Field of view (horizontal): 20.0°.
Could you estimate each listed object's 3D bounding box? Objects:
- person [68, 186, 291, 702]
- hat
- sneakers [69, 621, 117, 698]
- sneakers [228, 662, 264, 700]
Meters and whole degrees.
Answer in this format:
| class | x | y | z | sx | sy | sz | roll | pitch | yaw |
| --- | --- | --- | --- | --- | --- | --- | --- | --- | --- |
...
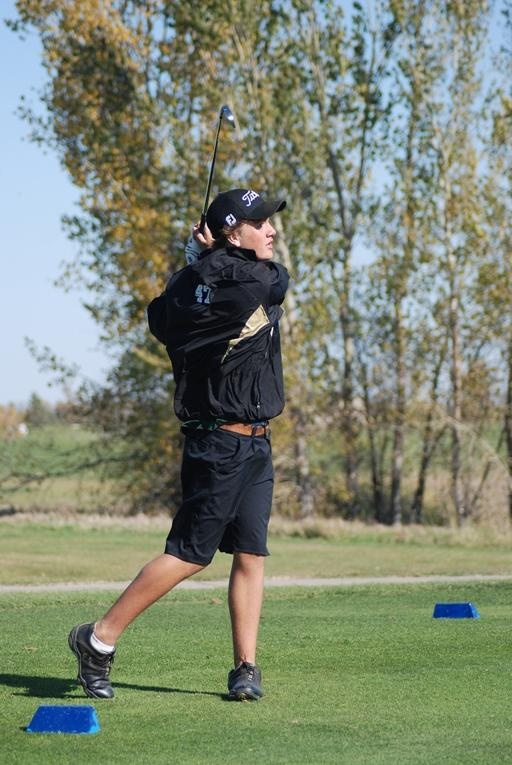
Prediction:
| class | x | y | z | sx | sy | sz | roll | pitch | yaw |
| --- | --- | --- | --- | --- | --- | --- | --- | --- | --- |
| person | -0.248 | 0.213 | 6.095 | 0.910 | 2.081 | 0.723 | -1 | 3 | -12 |
| hat | -0.035 | -0.752 | 6.323 | 0.290 | 0.170 | 0.193 | -25 | 11 | 13 |
| sneakers | -0.680 | 1.147 | 5.922 | 0.159 | 0.347 | 0.117 | -21 | -12 | 25 |
| sneakers | -0.042 | 1.198 | 5.857 | 0.136 | 0.124 | 0.166 | 0 | 3 | -1 |
